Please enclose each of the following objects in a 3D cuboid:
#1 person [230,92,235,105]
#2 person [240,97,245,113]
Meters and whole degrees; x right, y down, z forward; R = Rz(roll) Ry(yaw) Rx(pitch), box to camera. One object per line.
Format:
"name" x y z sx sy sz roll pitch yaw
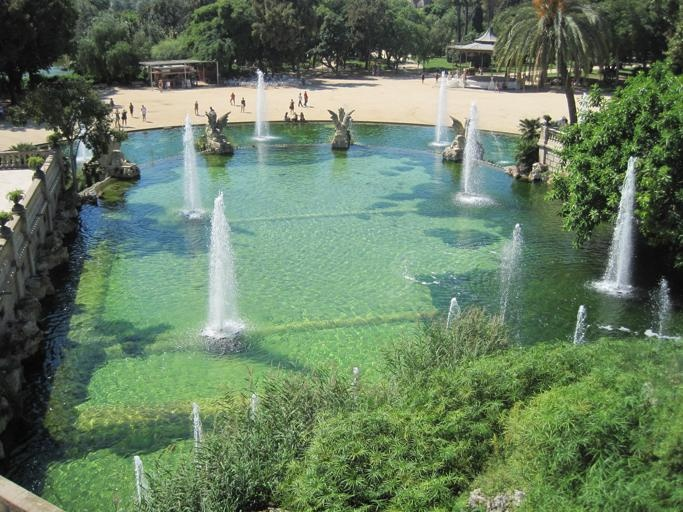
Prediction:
"person" -11.747 -16.975 58.839 0.508 1.259 2.260 -3 14 -11
"person" -10.086 -15.543 55.978 0.361 1.204 2.112 -3 14 -10
